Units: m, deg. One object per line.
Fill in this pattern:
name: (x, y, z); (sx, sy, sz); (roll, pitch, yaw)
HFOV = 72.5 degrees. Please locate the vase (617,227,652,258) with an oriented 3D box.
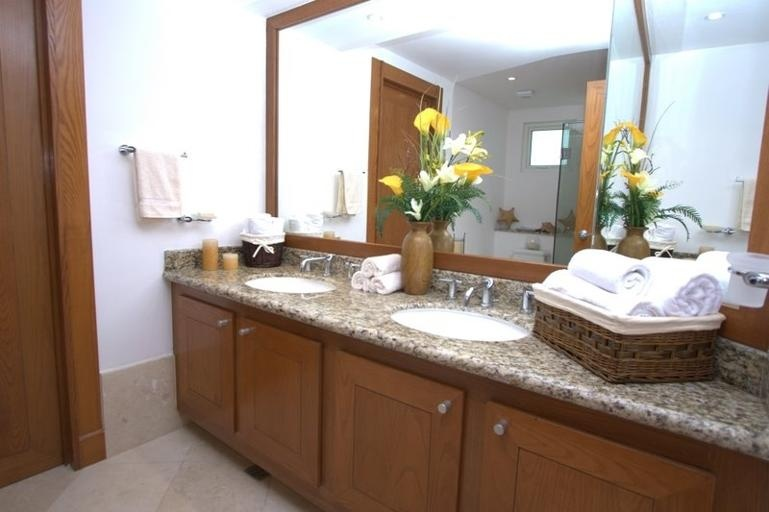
vase: (1.034, -0.044, 2.180); (0.128, 0.134, 0.125); (-1, 6, -1)

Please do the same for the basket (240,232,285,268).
basket: (-0.718, -0.029, 3.085); (0.217, 0.152, 0.214); (2, 3, -31)

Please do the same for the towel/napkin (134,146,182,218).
towel/napkin: (-1.153, -0.372, 2.740); (0.261, 0.332, 0.086); (-3, 5, -41)

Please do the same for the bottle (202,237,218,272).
bottle: (-0.995, -0.004, 2.993); (0.082, 0.172, 0.071); (-6, 12, -28)

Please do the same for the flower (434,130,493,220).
flower: (0.377, -0.444, 2.566); (0.264, 0.278, 0.249); (4, -11, 8)

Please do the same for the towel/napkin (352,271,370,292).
towel/napkin: (-0.121, 0.130, 2.646); (0.097, 0.094, 0.035); (8, 6, 40)

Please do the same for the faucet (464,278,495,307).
faucet: (0.414, 0.168, 2.438); (0.080, 0.150, 0.236); (7, 10, 39)

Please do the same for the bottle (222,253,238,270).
bottle: (-0.884, 0.036, 3.019); (0.078, 0.089, 0.049); (-8, 12, -36)

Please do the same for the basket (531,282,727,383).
basket: (0.845, 0.263, 1.874); (0.311, 0.172, 0.438); (0, 2, -10)
